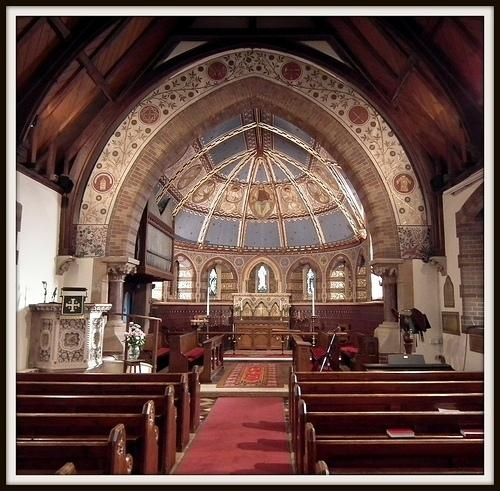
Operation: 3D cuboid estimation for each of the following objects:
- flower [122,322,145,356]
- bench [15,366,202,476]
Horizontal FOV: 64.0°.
[{"bbox_3d":[-2.363,1.977,8.041,0.373,0.567,0.423,5,-12,-31],"label":"flower"},{"bbox_3d":[-1.368,1.681,3.847,1.368,1.485,0.609,0,6,4],"label":"bench"}]
